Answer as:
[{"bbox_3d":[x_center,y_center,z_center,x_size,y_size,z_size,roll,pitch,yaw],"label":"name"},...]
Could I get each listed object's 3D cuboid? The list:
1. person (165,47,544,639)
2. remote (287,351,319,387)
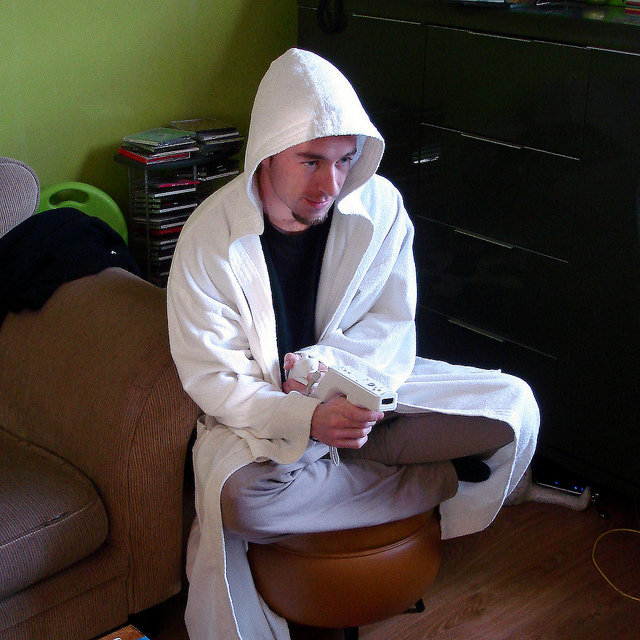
[{"bbox_3d":[0.122,0.071,1.387,0.806,1.205,0.570,-21,31,-30],"label":"person"},{"bbox_3d":[-0.034,0.101,1.255,0.027,0.068,0.043,16,42,-35],"label":"remote"}]
